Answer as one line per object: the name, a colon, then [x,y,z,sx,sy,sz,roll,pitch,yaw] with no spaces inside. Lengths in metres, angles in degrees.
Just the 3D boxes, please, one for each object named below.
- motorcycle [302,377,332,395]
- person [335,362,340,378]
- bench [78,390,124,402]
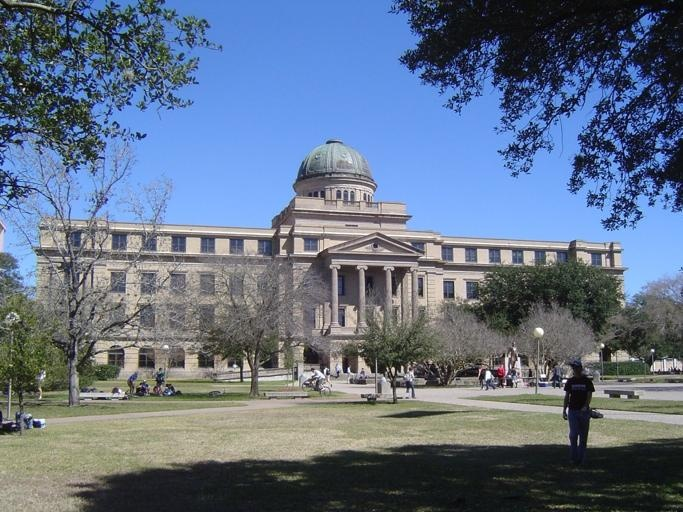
motorcycle: [-1.395,6.977,46.667,1.592,0.956,0.806,2,-10,25]
person: [-0.364,9.469,71.363,0.567,1.384,0.556,1,-4,-21]
bench: [-11.351,6.553,40.782,2.161,0.529,1.477,2,-13,-19]
